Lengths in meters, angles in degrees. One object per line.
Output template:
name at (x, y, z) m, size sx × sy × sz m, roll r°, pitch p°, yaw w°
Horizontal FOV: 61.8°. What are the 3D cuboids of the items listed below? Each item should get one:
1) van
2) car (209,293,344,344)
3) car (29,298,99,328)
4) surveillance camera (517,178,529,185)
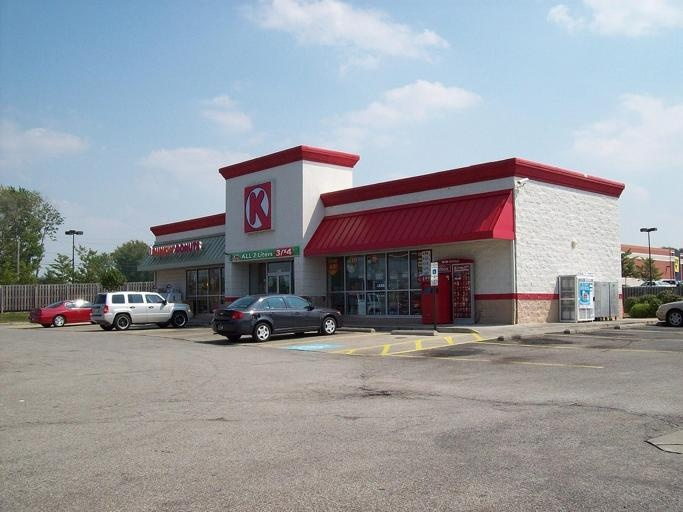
van at (-10.678, 2.856, 30.433) m, size 4.491 × 1.793 × 2.162 m, roll -1°, pitch -2°, yaw -35°
car at (-2.380, 2.317, 21.862) m, size 4.447 × 1.392 × 1.870 m, roll -1°, pitch -2°, yaw -36°
car at (-16.661, 3.445, 34.209) m, size 1.194 × 1.472 × 3.164 m, roll -2°, pitch -2°, yaw 37°
surveillance camera at (7.878, -3.184, 24.732) m, size 0.133 × 0.363 × 0.823 m, roll -2°, pitch -2°, yaw 43°
